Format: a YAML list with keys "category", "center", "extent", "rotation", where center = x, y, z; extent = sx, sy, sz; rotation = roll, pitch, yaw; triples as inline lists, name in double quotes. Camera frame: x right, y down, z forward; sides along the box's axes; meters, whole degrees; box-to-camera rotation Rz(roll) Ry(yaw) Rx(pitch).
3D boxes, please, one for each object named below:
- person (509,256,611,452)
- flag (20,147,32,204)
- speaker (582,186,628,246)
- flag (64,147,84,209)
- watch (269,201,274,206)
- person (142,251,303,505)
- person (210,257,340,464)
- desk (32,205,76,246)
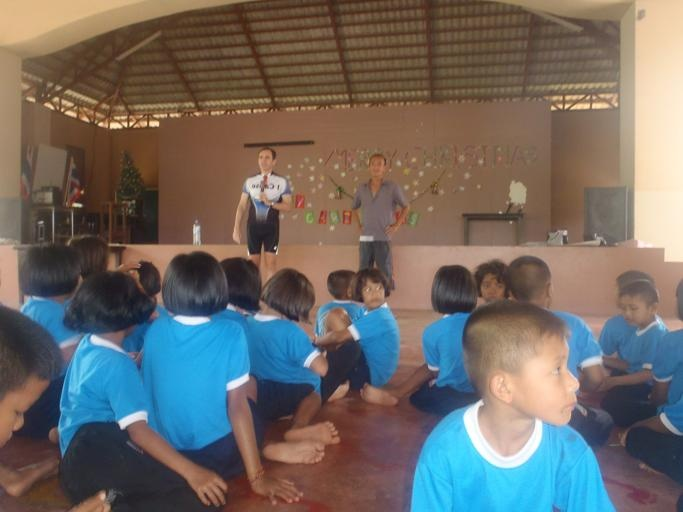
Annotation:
- category: "person"
  center: [0.932, 0.434, 2.583]
  extent: [0.646, 0.832, 0.486]
  rotation: [-3, 7, 18]
- category: "flag"
  center: [-5.056, -1.325, 8.993]
  extent: [0.202, 1.020, 0.102]
  rotation: [-2, -16, -22]
- category: "speaker"
  center: [2.545, -0.404, 5.362]
  extent: [0.372, 0.505, 0.141]
  rotation: [1, 3, 29]
- category: "flag"
  center: [-5.058, -1.430, 10.540]
  extent: [0.318, 0.187, 1.557]
  rotation: [-11, -30, -34]
- category: "watch"
  center: [-0.637, -0.477, 5.125]
  extent: [0.038, 0.045, 0.029]
  rotation: [1, 7, 14]
- category: "person"
  center: [-0.464, 0.516, 2.225]
  extent: [0.787, 0.780, 0.429]
  rotation: [4, 7, 15]
- category: "person"
  center: [-0.276, 0.450, 2.618]
  extent: [0.507, 0.452, 0.827]
  rotation: [3, 10, 8]
- category: "desk"
  center: [-4.081, -0.465, 8.112]
  extent: [0.348, 0.505, 0.367]
  rotation: [6, 10, -4]
